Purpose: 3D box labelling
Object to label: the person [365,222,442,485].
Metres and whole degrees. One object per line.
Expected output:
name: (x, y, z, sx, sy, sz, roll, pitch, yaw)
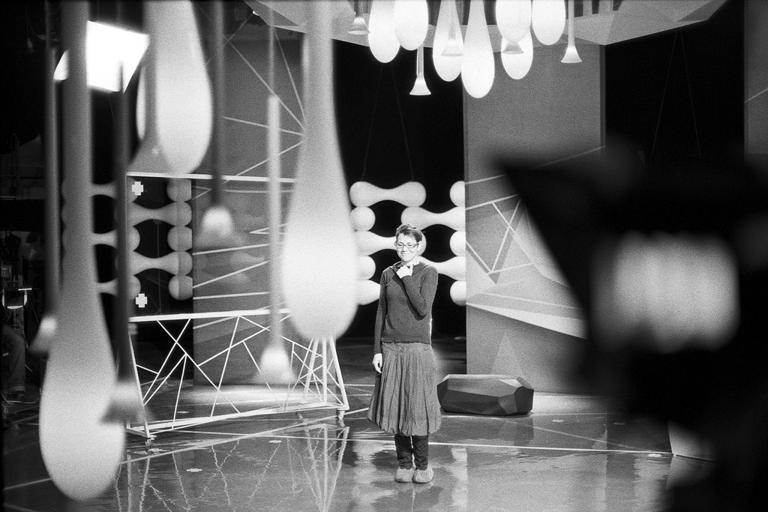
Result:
person: (0.078, 0.404, 3.302, 0.287, 1.066, 0.322, -1, 1, 0)
